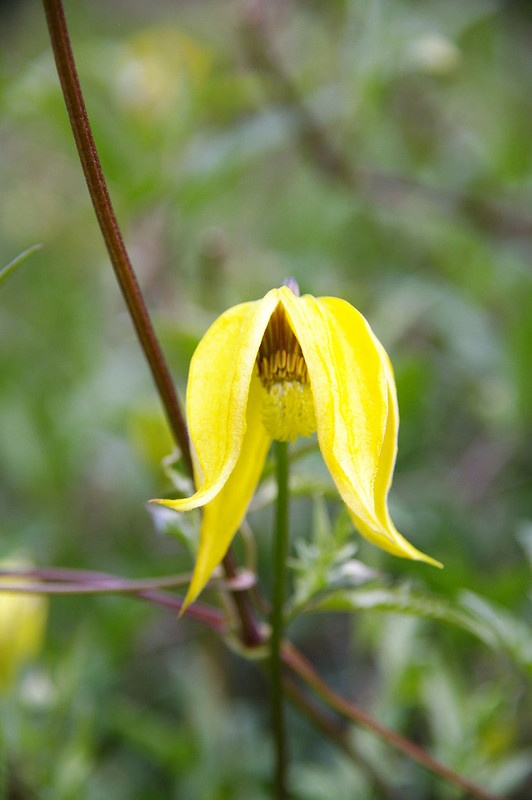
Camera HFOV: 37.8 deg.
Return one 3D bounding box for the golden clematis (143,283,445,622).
[{"bbox_3d":[0.009,0.004,0.607,0.220,0.210,0.202,-4,92,-37],"label":"golden clematis"}]
